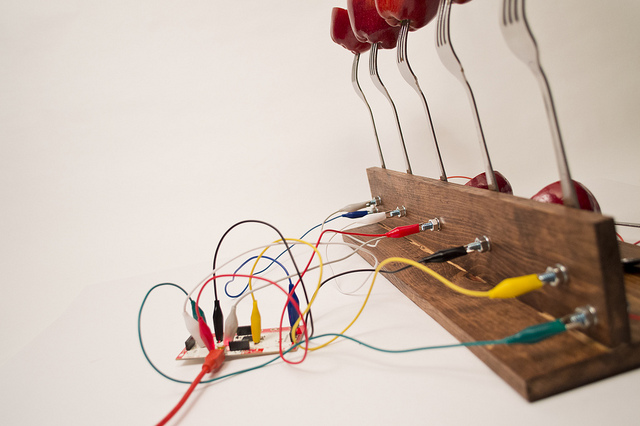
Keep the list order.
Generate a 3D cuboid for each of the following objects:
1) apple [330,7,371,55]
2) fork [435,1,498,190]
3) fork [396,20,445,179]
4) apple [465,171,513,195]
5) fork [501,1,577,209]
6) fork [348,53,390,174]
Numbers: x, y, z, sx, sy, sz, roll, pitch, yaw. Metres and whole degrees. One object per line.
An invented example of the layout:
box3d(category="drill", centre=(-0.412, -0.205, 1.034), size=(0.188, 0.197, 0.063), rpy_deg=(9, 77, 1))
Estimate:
box3d(category="apple", centre=(0.089, -0.623, 1.808), size=(0.143, 0.126, 0.120), rpy_deg=(16, -62, -5))
box3d(category="fork", centre=(0.501, -0.415, 1.745), size=(0.082, 0.073, 0.751), rpy_deg=(-18, -84, -25))
box3d(category="fork", centre=(0.380, -0.432, 1.923), size=(0.096, 0.067, 0.717), rpy_deg=(-22, -76, -34))
box3d(category="apple", centre=(0.466, -0.084, 1.420), size=(0.116, 0.077, 0.047), rpy_deg=(-8, -53, 12))
box3d(category="fork", centre=(0.636, -0.327, 1.478), size=(0.075, 0.076, 0.739), rpy_deg=(-21, -79, -36))
box3d(category="fork", centre=(0.211, -0.417, 2.196), size=(0.090, 0.050, 0.665), rpy_deg=(-28, -70, -41))
